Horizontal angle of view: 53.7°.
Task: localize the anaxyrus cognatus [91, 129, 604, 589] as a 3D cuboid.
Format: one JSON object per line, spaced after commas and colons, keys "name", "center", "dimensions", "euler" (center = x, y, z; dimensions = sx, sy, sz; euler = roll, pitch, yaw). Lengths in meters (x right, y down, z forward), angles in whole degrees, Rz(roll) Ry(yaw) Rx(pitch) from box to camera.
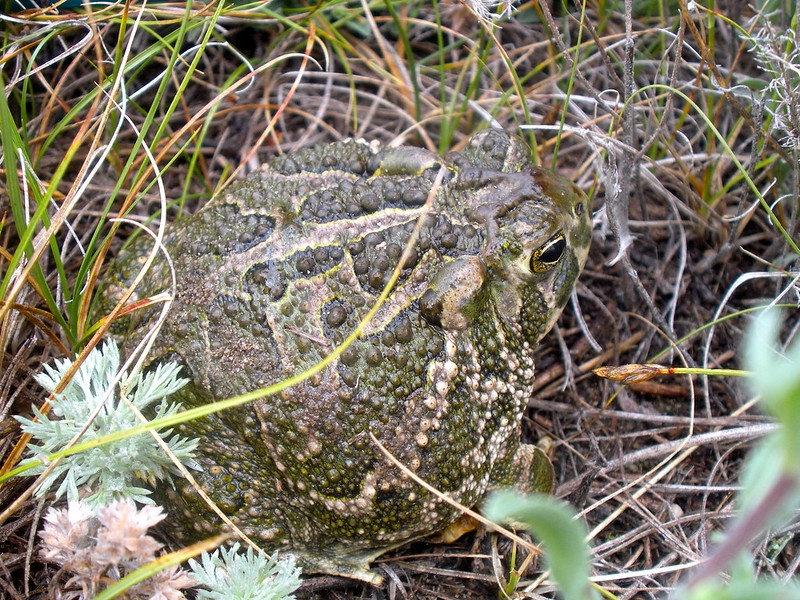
{"name": "anaxyrus cognatus", "center": [-0.147, 0.226, 3.168], "dimensions": [1.855, 0.756, 1.580], "euler": [-22, 72, -6]}
